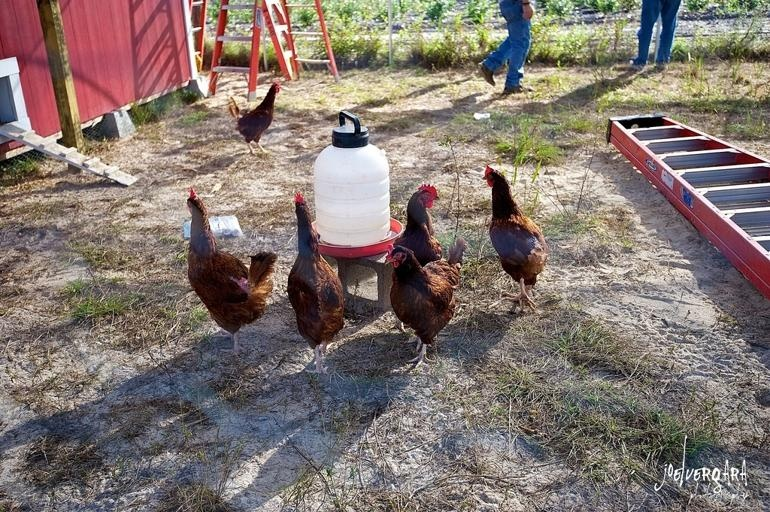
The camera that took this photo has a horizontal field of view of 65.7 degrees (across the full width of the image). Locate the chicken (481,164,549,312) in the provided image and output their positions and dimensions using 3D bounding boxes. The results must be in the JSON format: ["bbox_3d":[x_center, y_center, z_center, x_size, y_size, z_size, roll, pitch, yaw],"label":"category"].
[{"bbox_3d":[1.318,-0.190,5.887,0.488,1.372,0.752,-19,21,-18],"label":"chicken"}]

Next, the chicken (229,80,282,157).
[{"bbox_3d":[-2.044,-2.141,9.317,0.790,1.003,0.466,-1,18,-17],"label":"chicken"}]

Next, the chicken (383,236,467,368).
[{"bbox_3d":[0.353,0.373,5.513,0.944,1.152,0.555,-13,25,-42],"label":"chicken"}]

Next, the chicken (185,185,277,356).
[{"bbox_3d":[-1.392,0.091,5.343,0.717,1.233,0.382,4,28,13],"label":"chicken"}]

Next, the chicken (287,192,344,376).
[{"bbox_3d":[-0.604,0.294,5.241,0.490,1.585,0.593,-5,27,-7],"label":"chicken"}]
